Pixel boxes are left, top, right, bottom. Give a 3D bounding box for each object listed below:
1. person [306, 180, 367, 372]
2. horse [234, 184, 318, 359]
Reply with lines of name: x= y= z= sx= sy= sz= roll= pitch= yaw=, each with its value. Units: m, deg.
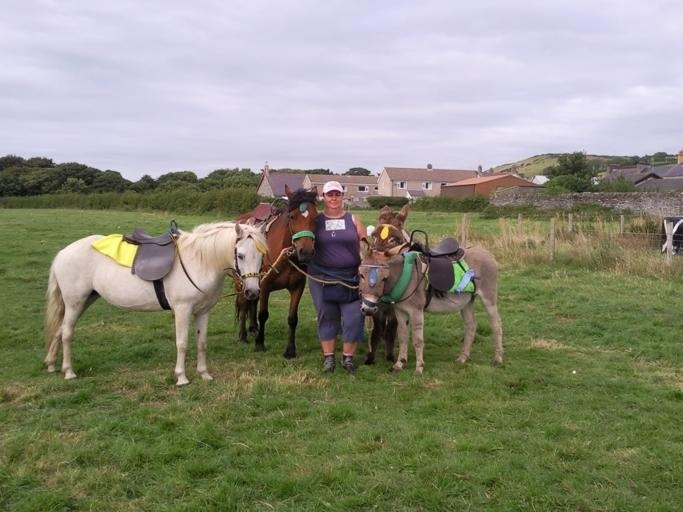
person: x=-0.082 y=0.349 z=10.286 sx=0.911 sy=2.999 sz=0.740 roll=1 pitch=12 yaw=2
horse: x=-0.381 y=0.041 z=11.969 sx=0.965 sy=2.988 sz=3.922 roll=0 pitch=0 yaw=-19
